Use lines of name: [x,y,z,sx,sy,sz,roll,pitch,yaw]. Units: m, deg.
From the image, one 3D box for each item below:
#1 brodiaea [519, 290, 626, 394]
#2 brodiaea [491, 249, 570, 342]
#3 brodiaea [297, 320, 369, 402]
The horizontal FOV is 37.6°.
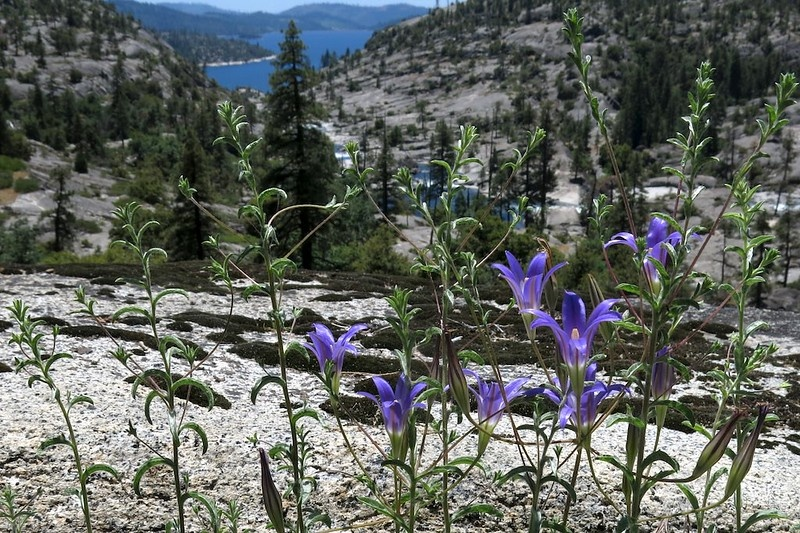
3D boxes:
brodiaea: [39.134,13.317,266.640,12.596,29.383,19.488,1,2,9]
brodiaea: [28.558,7.898,262.695,16.486,19.272,13.822,-15,29,-18]
brodiaea: [-15.689,18.653,264.461,9.473,20.224,11.186,4,19,7]
